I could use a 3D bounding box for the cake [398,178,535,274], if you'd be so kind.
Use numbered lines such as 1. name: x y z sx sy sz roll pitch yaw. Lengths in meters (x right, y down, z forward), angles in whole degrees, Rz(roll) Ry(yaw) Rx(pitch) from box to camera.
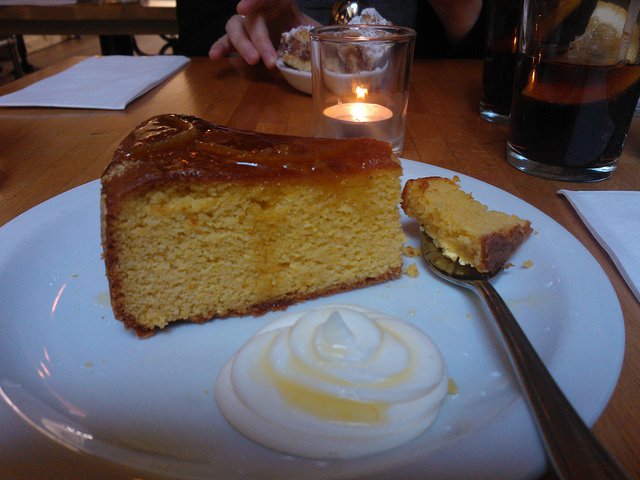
1. cake: 0.341 -0.041 1.290 0.253 0.250 0.087 -12 5 37

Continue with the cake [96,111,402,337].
1. cake: -0.148 -0.012 1.303 0.624 0.362 0.489 2 28 2

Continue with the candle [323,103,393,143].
1. candle: 0.112 -0.361 1.529 0.144 0.062 0.147 20 29 38

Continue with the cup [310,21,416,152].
1. cup: 0.110 -0.442 1.681 0.367 0.410 0.377 2 30 -1
